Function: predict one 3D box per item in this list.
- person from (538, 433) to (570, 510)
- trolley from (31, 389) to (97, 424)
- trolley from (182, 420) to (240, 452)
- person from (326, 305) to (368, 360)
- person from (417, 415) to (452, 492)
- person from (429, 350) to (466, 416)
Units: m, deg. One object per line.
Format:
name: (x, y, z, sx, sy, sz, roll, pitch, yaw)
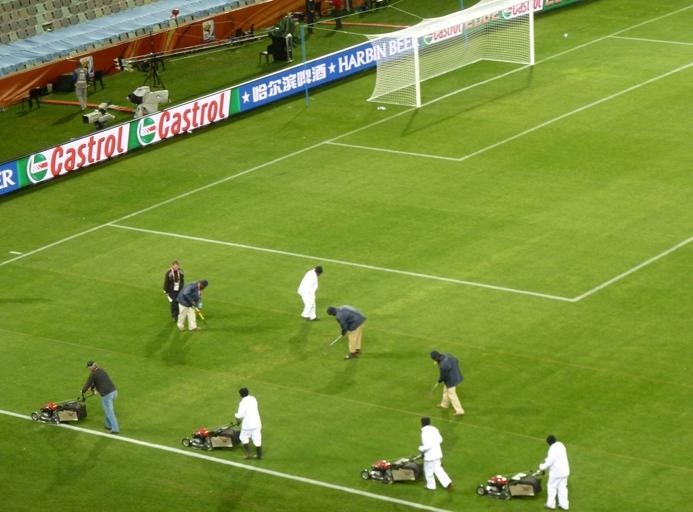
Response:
person: (5.400, 5.530, 34.762, 0.781, 1.939, 1.050, 2, 3, 8)
trolley: (-7.998, 4.296, 38.316, 1.870, 0.686, 0.686, 3, 28, 3)
trolley: (-3.663, 4.941, 36.983, 1.365, 0.401, 0.816, 2, 3, 9)
person: (0.158, 2.177, 39.965, 1.349, 1.479, 1.089, 3, 17, 10)
person: (2.309, 5.166, 35.267, 0.826, 1.925, 0.472, 1, 3, -5)
person: (2.853, 3.518, 37.550, 0.926, 1.842, 1.136, 2, 2, 8)
